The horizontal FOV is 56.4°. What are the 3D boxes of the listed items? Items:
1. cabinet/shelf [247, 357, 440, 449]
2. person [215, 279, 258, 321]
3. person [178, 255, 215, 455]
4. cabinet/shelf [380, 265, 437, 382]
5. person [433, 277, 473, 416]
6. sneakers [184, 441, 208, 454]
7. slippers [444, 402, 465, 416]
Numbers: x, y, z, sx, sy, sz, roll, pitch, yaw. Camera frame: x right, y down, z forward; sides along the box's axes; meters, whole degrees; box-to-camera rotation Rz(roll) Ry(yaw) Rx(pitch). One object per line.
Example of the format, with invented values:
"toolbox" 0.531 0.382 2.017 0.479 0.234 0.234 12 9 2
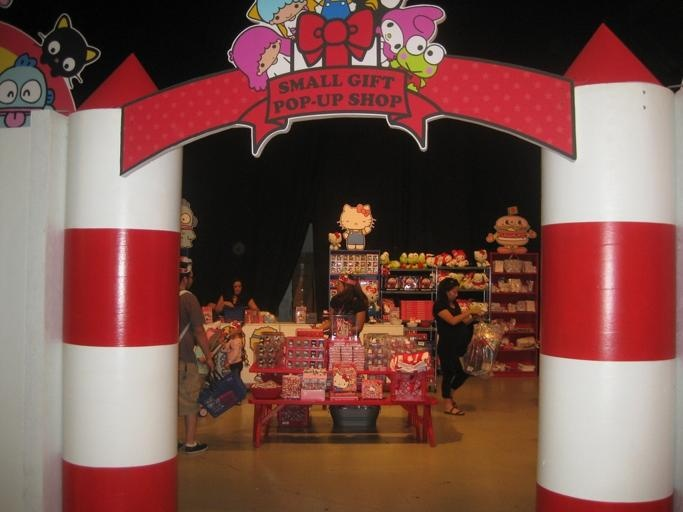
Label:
"cabinet/shelf" 0.076 1.461 6.491 1.788 0.754 1.106 1 2 2
"person" -1.583 0.733 9.384 0.492 0.778 0.447 5 1 -36
"person" -1.381 0.930 6.005 0.289 1.832 0.702 0 2 -13
"cabinet/shelf" 1.044 0.953 9.555 0.753 1.735 0.492 1 -8 1
"person" 1.295 1.040 7.281 0.453 1.562 0.480 1 2 11
"sneakers" -1.366 1.793 5.983 0.236 0.104 0.087 1 -2 -36
"slippers" 1.300 1.780 7.401 0.258 0.199 0.104 -6 -7 34
